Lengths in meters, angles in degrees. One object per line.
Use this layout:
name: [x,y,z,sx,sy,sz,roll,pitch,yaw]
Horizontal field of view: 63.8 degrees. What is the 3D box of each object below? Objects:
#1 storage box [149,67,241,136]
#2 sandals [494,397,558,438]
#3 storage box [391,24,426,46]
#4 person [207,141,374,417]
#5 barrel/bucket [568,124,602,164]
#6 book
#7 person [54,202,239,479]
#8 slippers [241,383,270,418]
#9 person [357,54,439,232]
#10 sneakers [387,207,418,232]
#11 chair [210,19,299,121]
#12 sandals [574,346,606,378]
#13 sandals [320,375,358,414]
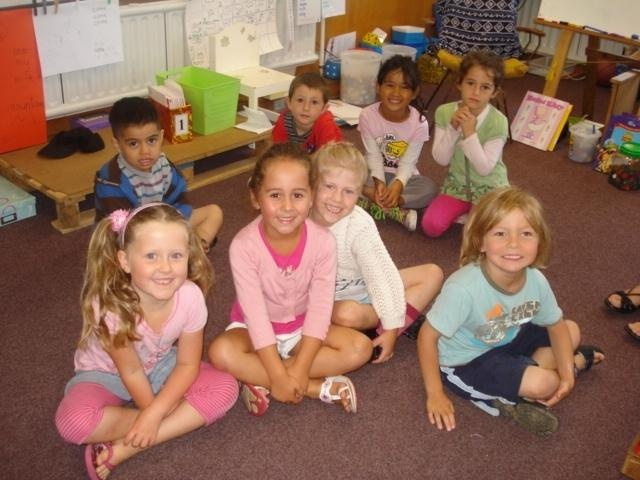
storage box: [-0.853,-0.999,3.491,0.392,0.351,0.586,-22,38,-35]
sandals: [0.811,0.648,1.933,0.163,0.104,0.304,-5,-1,24]
storage box: [0.881,-1.964,5.036,0.256,0.159,0.260,-2,34,-13]
person: [-0.113,0.121,1.826,0.583,0.854,0.616,-3,23,-17]
barrel/bucket: [2.004,-0.719,3.833,0.235,0.247,0.236,-1,26,0]
book: [1.742,-0.945,4.061,0.387,0.356,0.313,25,36,38]
person: [-0.601,0.380,1.762,0.596,0.716,0.513,-19,47,-40]
slippers: [-0.234,0.560,1.837,0.043,0.077,0.124,0,41,-48]
person: [0.426,-0.587,3.002,0.586,0.905,0.665,10,36,13]
sneakers: [0.489,-0.132,2.934,0.100,0.080,0.236,10,19,-34]
chair: [-0.505,-1.225,3.811,0.544,0.678,0.535,-18,43,-28]
sandals: [1.095,0.458,2.067,0.207,0.080,0.054,-33,30,-32]
sandals: [0.068,0.559,1.869,0.158,0.093,0.058,-1,6,40]
